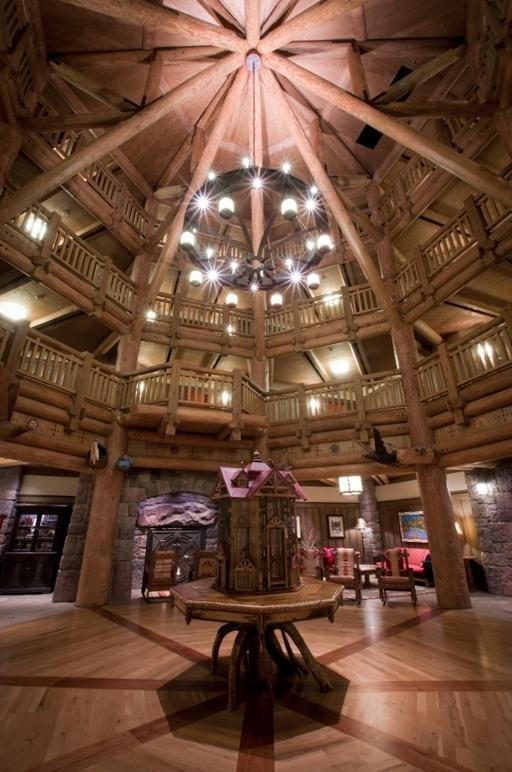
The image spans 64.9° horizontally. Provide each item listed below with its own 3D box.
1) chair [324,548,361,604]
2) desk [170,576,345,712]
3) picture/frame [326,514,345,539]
[{"bbox_3d":[1.958,4.235,9.074,1.041,0.932,0.834,7,-22,-16],"label":"chair"},{"bbox_3d":[0.090,2.238,3.535,1.294,0.573,1.073,2,-25,-1],"label":"desk"},{"bbox_3d":[2.640,4.695,13.345,0.919,0.794,0.071,12,-31,-31],"label":"picture/frame"}]
